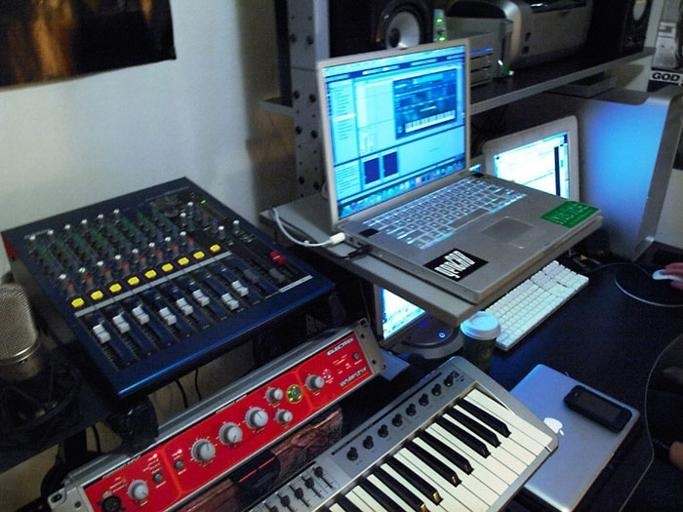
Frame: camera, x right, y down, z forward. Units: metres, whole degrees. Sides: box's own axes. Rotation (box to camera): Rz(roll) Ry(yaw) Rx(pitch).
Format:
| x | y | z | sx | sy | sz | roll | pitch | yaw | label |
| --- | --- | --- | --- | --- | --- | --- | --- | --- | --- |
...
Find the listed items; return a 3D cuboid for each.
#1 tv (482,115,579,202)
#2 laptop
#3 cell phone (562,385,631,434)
| x | y | z | sx | sy | sz | roll | pitch | yaw | label |
| --- | --- | --- | --- | --- | --- | --- | --- | --- | --- |
| 0.605 | -0.300 | 1.717 | 0.285 | 0.250 | 0.147 | -28 | 37 | -35 | tv |
| 0.254 | -0.229 | 1.206 | 0.511 | 0.409 | 0.436 | -27 | 39 | -30 | laptop |
| 0.618 | 0.365 | 1.323 | 0.126 | 0.030 | 0.071 | 31 | 53 | 29 | cell phone |
